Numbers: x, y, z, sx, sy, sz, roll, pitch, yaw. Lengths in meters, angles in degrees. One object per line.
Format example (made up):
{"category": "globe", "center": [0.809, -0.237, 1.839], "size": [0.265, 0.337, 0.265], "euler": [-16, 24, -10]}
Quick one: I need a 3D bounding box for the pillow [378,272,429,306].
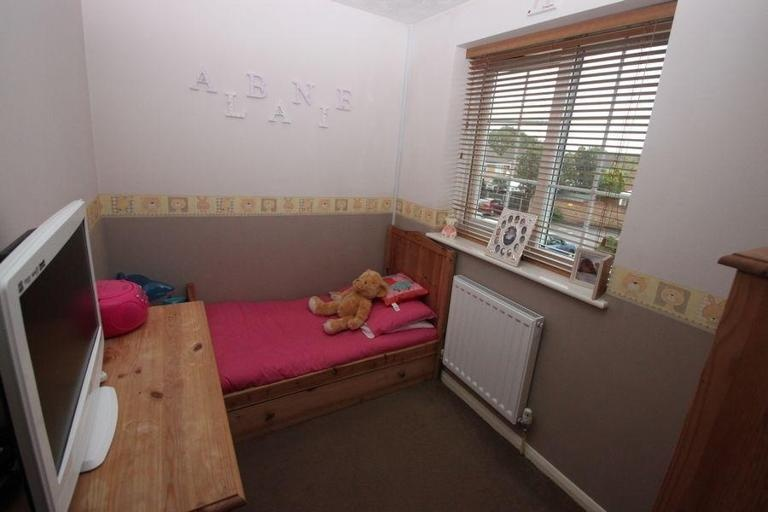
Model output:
{"category": "pillow", "center": [0.120, 0.237, 3.605], "size": [0.325, 0.106, 0.350], "euler": [-15, 29, -9]}

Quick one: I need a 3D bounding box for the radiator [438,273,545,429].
{"category": "radiator", "center": [0.721, 0.619, 3.025], "size": [0.113, 0.768, 0.814], "euler": [-7, 24, -31]}

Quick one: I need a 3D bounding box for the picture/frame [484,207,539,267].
{"category": "picture/frame", "center": [0.840, -0.116, 3.025], "size": [0.031, 0.406, 0.344], "euler": [23, 3, -28]}

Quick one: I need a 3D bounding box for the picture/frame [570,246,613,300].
{"category": "picture/frame", "center": [1.164, 0.098, 2.591], "size": [0.095, 0.248, 0.239], "euler": [-6, 18, -22]}

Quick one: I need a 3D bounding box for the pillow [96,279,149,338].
{"category": "pillow", "center": [-1.186, 0.244, 2.134], "size": [0.240, 0.142, 0.240], "euler": [2, 18, -16]}

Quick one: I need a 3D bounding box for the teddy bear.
{"category": "teddy bear", "center": [-0.256, 0.312, 3.460], "size": [0.562, 0.376, 0.485], "euler": [-10, 31, -24]}

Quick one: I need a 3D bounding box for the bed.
{"category": "bed", "center": [-0.469, 0.394, 3.333], "size": [1.657, 1.009, 0.896], "euler": [-7, 28, -33]}
